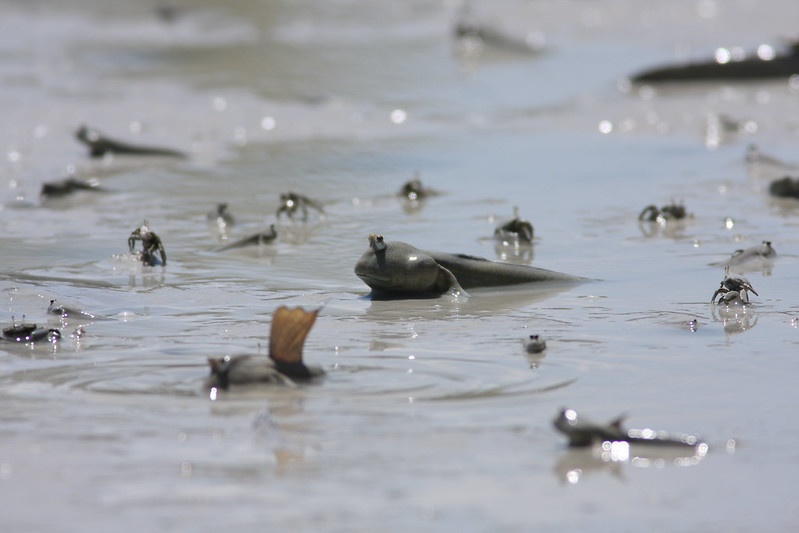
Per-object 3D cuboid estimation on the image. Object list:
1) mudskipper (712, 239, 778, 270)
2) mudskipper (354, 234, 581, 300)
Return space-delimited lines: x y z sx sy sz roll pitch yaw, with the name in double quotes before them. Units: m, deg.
"mudskipper" 3.779 -0.116 10.435 0.695 0.194 0.214 -12 67 -16
"mudskipper" 0.804 0.051 9.869 2.850 0.682 0.609 0 73 -23
